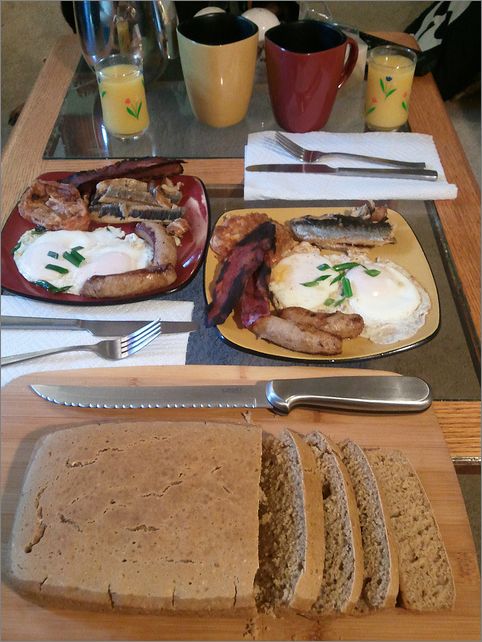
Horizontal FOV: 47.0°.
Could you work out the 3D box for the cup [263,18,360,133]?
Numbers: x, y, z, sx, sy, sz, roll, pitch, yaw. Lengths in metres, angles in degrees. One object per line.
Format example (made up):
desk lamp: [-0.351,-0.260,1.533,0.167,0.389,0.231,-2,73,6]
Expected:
cup: [0.229,-0.783,1.799,0.310,0.296,0.257,-9,39,-4]

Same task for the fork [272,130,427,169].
fork: [0.341,-0.540,1.758,0.463,0.066,0.062,10,43,3]

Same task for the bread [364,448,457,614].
bread: [0.279,0.321,0.893,0.097,0.032,0.204,-2,45,-1]

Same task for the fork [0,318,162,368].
fork: [-0.357,0.052,1.217,0.285,0.032,0.040,-12,49,-2]

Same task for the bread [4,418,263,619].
bread: [-0.166,0.293,0.880,0.384,0.077,0.290,4,59,-1]

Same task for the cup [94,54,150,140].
cup: [-0.390,-0.720,1.831,0.146,0.220,0.143,0,34,0]

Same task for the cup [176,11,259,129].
cup: [-0.025,-0.834,1.863,0.300,0.337,0.307,1,55,-2]
